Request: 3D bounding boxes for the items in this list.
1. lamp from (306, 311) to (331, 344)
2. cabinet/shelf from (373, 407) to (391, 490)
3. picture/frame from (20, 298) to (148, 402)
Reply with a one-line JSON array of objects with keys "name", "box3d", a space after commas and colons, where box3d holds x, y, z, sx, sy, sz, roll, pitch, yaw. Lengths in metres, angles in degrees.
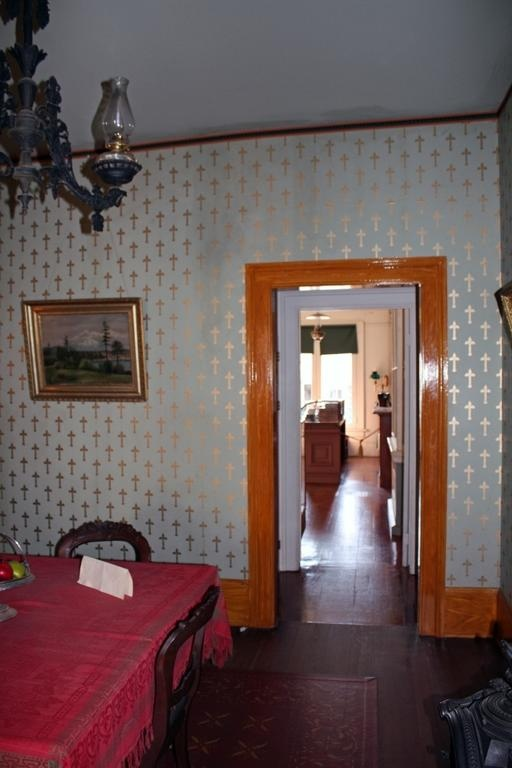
[{"name": "lamp", "box3d": [1.229, -1.158, 12.341, 0.568, 0.834, 0.582, 1, -3, 3]}, {"name": "cabinet/shelf", "box3d": [1.991, 1.029, 9.687, 0.360, 1.232, 1.227, 0, 0, 9]}, {"name": "picture/frame", "box3d": [-1.200, -0.262, 4.410, 0.731, 0.547, 0.037, 0, 6, 11]}]
